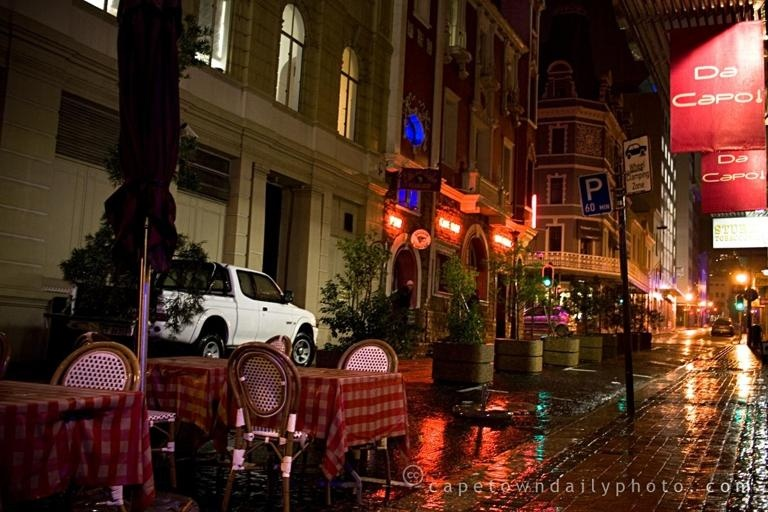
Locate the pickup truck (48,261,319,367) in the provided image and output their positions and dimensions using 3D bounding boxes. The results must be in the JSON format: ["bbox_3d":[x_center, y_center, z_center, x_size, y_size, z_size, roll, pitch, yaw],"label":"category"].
[{"bbox_3d":[-3.761,1.277,14.819,2.526,1.998,5.088,1,-2,35],"label":"pickup truck"}]

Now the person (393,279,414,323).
[{"bbox_3d":[0.797,1.742,21.153,0.606,1.987,0.518,1,20,-3],"label":"person"}]

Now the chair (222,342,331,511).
[{"bbox_3d":[-1.289,1.859,6.729,0.916,1.768,1.123,3,-12,-18],"label":"chair"}]

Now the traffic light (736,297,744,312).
[{"bbox_3d":[26.699,3.511,46.122,0.511,1.034,1.659,-7,-14,30],"label":"traffic light"}]

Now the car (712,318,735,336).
[{"bbox_3d":[36.936,7.798,67.101,2.061,1.992,2.911,-8,-14,31],"label":"car"}]
